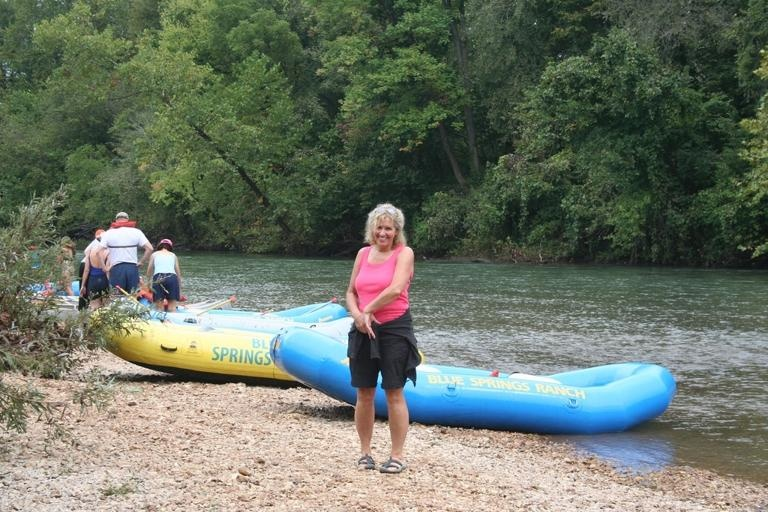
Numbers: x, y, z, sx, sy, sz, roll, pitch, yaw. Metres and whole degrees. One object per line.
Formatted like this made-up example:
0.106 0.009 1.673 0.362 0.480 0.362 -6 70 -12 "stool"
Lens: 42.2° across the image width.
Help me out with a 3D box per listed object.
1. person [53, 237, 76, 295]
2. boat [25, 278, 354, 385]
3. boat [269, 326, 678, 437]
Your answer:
-6.222 0.178 19.582 0.331 1.107 1.007 0 1 -14 "person"
-4.057 1.954 23.592 5.176 1.026 2.881 7 0 -4 "boat"
1.966 2.925 21.890 7.339 1.175 3.259 4 2 -5 "boat"
